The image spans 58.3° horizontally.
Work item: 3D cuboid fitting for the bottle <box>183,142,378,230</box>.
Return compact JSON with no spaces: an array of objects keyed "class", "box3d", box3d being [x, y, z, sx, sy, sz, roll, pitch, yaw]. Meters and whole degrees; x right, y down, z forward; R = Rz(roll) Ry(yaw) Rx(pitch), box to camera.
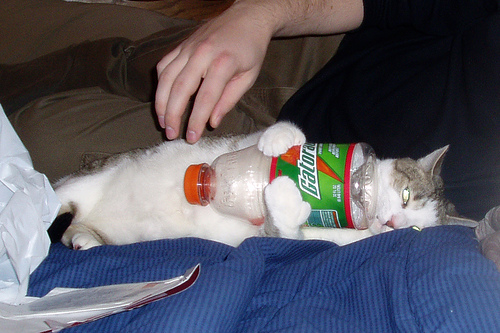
[{"class":"bottle","box3d":[0.102,0.028,1.439,0.568,0.254,0.262,1,10,10]}]
